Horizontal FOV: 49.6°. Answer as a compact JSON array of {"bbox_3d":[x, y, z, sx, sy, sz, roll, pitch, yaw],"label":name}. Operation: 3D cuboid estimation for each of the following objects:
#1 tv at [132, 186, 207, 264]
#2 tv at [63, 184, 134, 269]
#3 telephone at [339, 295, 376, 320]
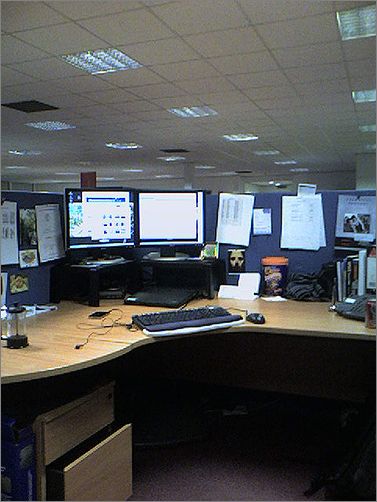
[{"bbox_3d":[-0.094,-0.134,2.174,0.459,0.415,0.156,0,2,-4],"label":"tv"},{"bbox_3d":[-0.458,-0.122,2.072,0.431,0.396,0.149,-5,12,-31],"label":"tv"},{"bbox_3d":[0.694,0.227,1.669,0.129,0.047,0.090,-3,14,-24],"label":"telephone"}]
